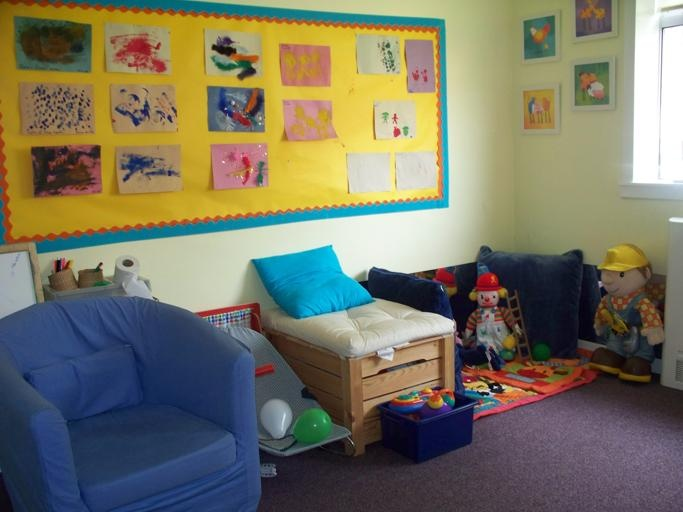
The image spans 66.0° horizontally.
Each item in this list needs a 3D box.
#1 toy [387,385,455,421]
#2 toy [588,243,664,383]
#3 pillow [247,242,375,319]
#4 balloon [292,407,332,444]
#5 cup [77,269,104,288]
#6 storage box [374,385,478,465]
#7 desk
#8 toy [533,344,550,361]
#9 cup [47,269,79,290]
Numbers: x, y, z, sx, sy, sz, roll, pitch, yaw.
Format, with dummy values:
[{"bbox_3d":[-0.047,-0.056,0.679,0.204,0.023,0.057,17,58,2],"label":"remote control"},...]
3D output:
[{"bbox_3d":[0.476,0.820,2.958,0.260,0.100,0.172,-3,3,-33],"label":"toy"},{"bbox_3d":[1.999,0.396,3.653,0.426,0.903,0.315,4,15,27],"label":"toy"},{"bbox_3d":[-0.198,0.159,3.594,0.673,0.375,0.477,-13,17,-37],"label":"pillow"},{"bbox_3d":[-0.167,0.888,2.834,0.198,0.157,0.149,-13,25,-22],"label":"balloon"},{"bbox_3d":[-1.391,0.121,2.884,0.100,0.071,0.100,-1,5,0],"label":"cup"},{"bbox_3d":[0.485,0.925,2.972,0.453,0.230,0.297,-3,6,-39],"label":"storage box"},{"bbox_3d":[0.150,0.733,3.241,0.820,0.535,0.635,-1,1,-41],"label":"desk"},{"bbox_3d":[1.524,0.730,4.002,0.118,0.124,0.138,-3,-9,-14],"label":"toy"},{"bbox_3d":[-1.500,0.132,2.836,0.114,0.102,0.118,-5,-1,0],"label":"cup"}]
